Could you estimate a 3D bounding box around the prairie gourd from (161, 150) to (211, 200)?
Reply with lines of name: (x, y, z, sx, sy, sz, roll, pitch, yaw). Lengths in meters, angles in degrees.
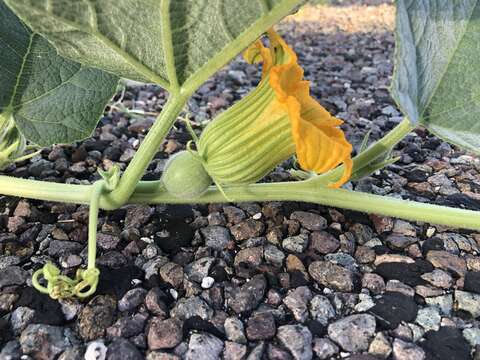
prairie gourd: (-0.233, -0.028, 1.809, 0.177, 0.226, 0.178, -1, 86, -5)
